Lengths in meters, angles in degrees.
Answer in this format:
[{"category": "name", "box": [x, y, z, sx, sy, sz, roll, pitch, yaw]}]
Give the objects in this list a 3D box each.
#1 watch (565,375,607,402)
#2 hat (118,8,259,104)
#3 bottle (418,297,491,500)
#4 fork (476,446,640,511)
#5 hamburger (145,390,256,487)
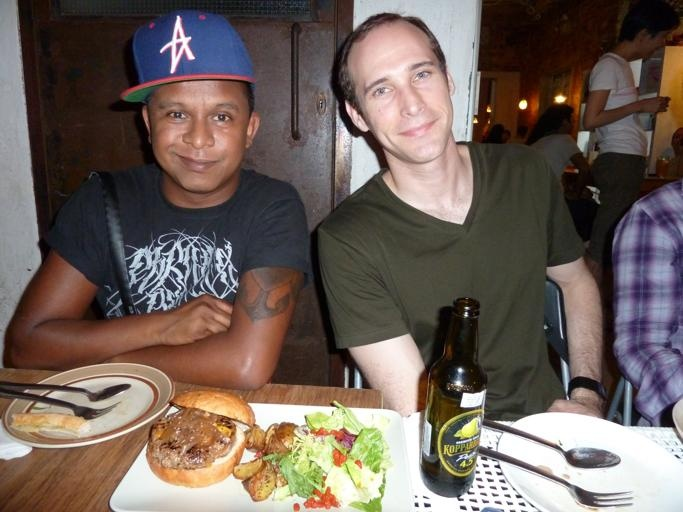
[{"category": "watch", "box": [1.043, 0.560, 2.131, 0.102, 0.112, 0.042, 13, 38, -7]}, {"category": "hat", "box": [-0.700, -0.917, 2.340, 0.523, 0.300, 0.389, -7, 14, -15]}, {"category": "bottle", "box": [0.340, 0.412, 1.533, 0.195, 0.587, 0.222, 0, 12, 9]}, {"category": "fork", "box": [0.658, 0.685, 1.520, 0.567, 0.067, 0.074, 10, 42, 21]}, {"category": "hamburger", "box": [-0.484, 0.622, 1.664, 0.306, 0.119, 0.394, 6, 7, -7]}]
